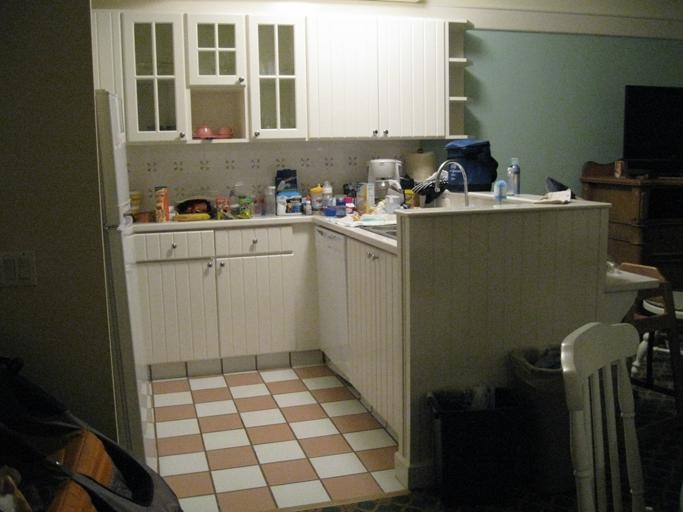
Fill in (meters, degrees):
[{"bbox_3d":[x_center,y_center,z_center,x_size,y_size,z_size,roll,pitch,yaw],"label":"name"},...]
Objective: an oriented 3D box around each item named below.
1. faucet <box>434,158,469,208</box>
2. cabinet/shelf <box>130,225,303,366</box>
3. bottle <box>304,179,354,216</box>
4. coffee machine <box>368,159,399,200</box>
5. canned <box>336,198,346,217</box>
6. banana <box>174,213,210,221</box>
[{"bbox_3d":[0.687,-0.473,3.611,0.201,0.267,0.965,0,13,12],"label":"faucet"},{"bbox_3d":[-0.922,0.247,4.135,1.011,0.768,0.380,-2,5,-13],"label":"cabinet/shelf"},{"bbox_3d":[-0.103,-0.433,4.435,0.272,0.162,0.362,-3,13,-13],"label":"bottle"},{"bbox_3d":[0.340,-0.623,4.691,0.280,0.319,0.283,-1,3,-5],"label":"coffee machine"},{"bbox_3d":[-0.006,-0.358,4.264,0.074,0.128,0.171,-5,13,-14],"label":"canned"},{"bbox_3d":[-1.087,-0.280,4.269,0.263,0.050,0.194,-5,13,-13],"label":"banana"}]
